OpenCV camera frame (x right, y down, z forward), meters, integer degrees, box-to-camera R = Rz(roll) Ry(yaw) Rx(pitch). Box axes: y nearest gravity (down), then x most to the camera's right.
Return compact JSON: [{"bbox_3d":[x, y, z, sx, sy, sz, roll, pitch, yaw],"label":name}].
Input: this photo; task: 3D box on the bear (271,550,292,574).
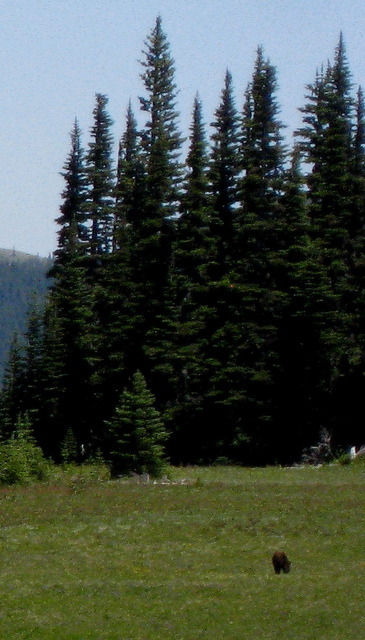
[{"bbox_3d":[4.345,10.497,58.804,0.936,0.911,0.817,-6,9,-19],"label":"bear"}]
